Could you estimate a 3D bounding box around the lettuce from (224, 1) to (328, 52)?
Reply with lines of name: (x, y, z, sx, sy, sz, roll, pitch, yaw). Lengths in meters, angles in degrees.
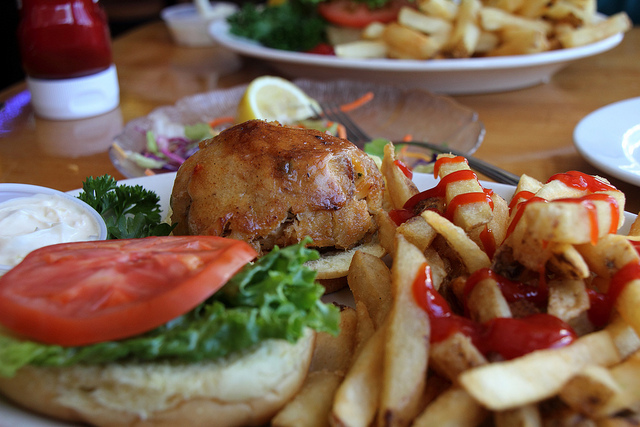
lettuce: (-0.336, -1.506, 4.154, 0.804, 0.319, 0.453, 21, 50, 24)

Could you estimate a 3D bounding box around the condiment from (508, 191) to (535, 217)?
condiment: (0.772, -0.046, 2.053, 0.090, 0.068, 0.092, -20, 42, 38)
